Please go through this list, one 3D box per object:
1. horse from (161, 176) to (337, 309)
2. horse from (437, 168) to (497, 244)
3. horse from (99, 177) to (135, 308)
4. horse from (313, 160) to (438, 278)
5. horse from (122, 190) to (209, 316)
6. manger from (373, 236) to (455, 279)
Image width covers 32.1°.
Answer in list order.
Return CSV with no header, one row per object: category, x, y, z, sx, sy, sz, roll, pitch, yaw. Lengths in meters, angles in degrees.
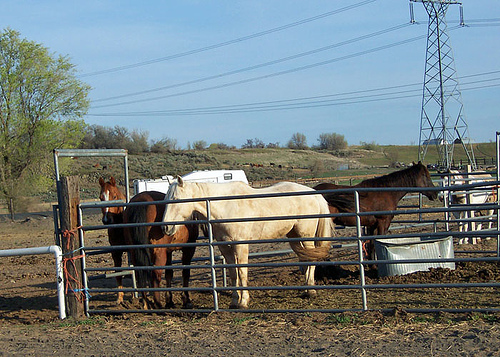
horse,0.073,1.821,25.418,4.677,3.851,1.397,-2,-2,1
horse,7.601,0.833,29.900,1.896,2.822,1.906,-4,12,-7
horse,-4.113,1.800,26.407,1.241,3.582,1.248,-3,7,-15
horse,3.720,1.298,27.635,4.900,3.116,1.058,-4,2,-13
horse,-2.842,1.903,27.927,1.647,3.792,5.681,0,3,9
manger,4.941,2.414,26.456,2.330,1.159,1.027,-2,-2,5
